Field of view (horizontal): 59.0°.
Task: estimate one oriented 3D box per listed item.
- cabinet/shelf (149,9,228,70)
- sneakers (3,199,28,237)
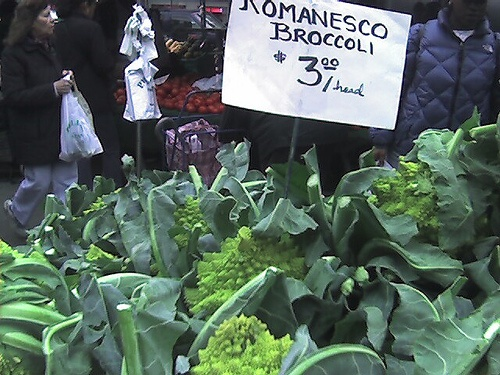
[{"bbox_3d":[-0.558,-1.508,4.400,0.808,0.483,0.538,-4,52,3],"label":"cabinet/shelf"},{"bbox_3d":[-1.960,0.260,3.717,0.086,0.295,0.119,-25,10,-5],"label":"sneakers"}]
